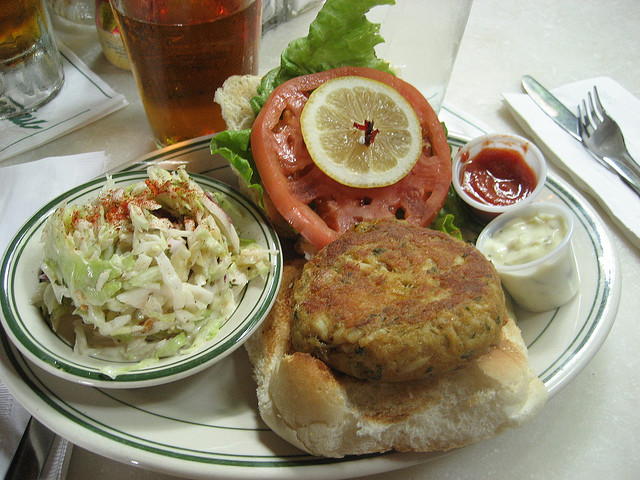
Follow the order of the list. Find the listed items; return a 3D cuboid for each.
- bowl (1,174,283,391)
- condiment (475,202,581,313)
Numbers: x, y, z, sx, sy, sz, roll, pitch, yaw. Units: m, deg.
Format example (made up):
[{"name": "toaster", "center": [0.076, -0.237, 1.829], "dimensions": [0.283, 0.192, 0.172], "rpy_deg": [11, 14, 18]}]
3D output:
[{"name": "bowl", "center": [-0.653, 0.100, 2.164], "dimensions": [1.008, 0.267, 0.890], "rpy_deg": [-9, 63, -2]}, {"name": "condiment", "center": [0.887, 0.091, 2.346], "dimensions": [0.353, 0.290, 0.379], "rpy_deg": [-30, 23, 13]}]
